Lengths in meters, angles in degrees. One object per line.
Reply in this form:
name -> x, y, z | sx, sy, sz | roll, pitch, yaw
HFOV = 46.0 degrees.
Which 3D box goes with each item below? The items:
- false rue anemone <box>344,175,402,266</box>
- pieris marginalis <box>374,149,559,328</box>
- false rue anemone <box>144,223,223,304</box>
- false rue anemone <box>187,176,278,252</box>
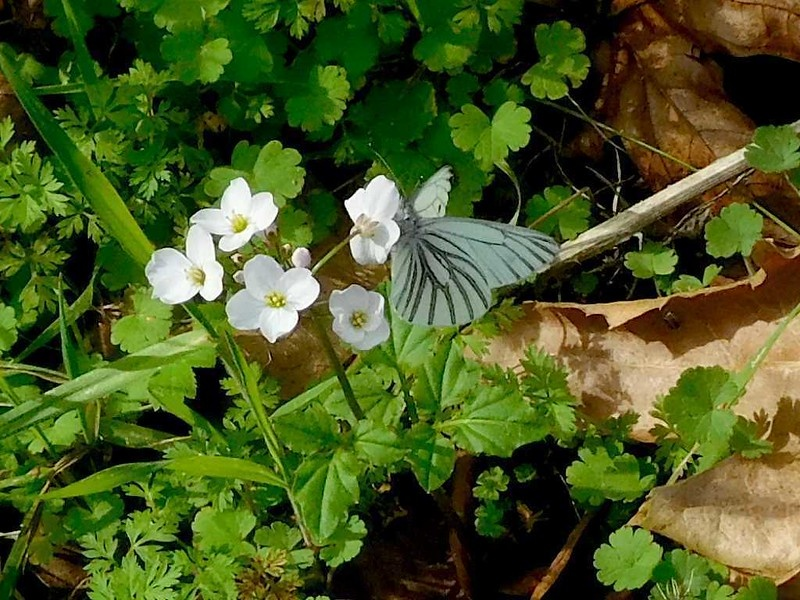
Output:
false rue anemone -> -0.146, -0.451, 5.379 | 0.297, 0.315, 0.362 | -8, 56, 2
pieris marginalis -> 0.365, -0.316, 5.652 | 0.960, 0.975, 0.621 | -15, 55, -2
false rue anemone -> -1.191, -0.167, 5.324 | 0.464, 0.337, 0.408 | 11, 59, 14
false rue anemone -> -0.896, -0.477, 5.329 | 0.412, 0.218, 0.458 | -7, 75, 24
